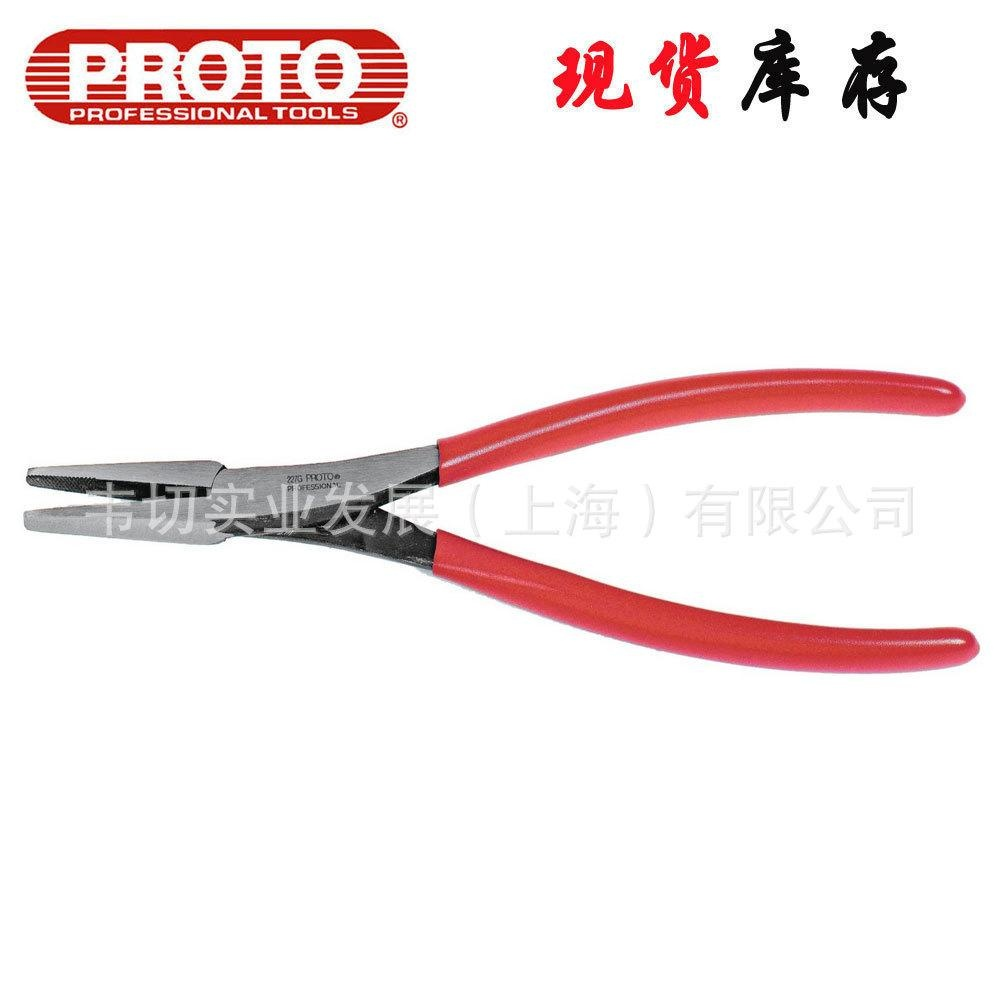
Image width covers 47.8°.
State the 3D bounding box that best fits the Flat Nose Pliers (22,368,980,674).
[{"bbox_3d":[-0.056,-0.004,2.103,1.755,0.529,0.086,3,-11,9],"label":"Flat Nose Pliers"}]
